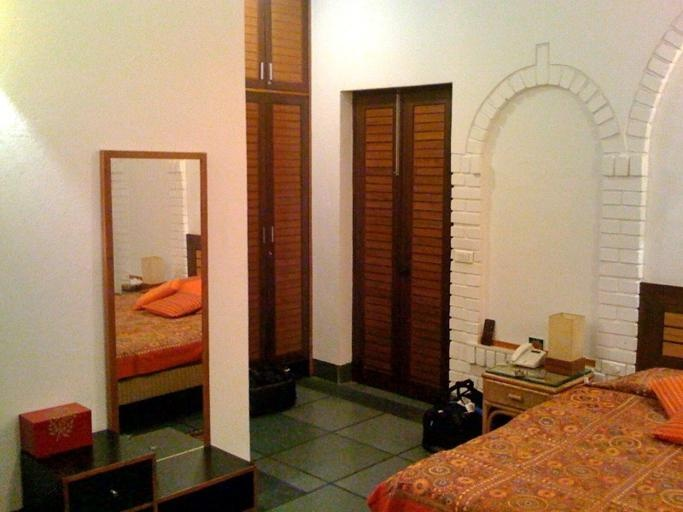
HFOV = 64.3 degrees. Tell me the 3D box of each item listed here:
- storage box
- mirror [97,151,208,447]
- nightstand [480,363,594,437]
[{"bbox_3d":[-1.486,0.907,2.830,0.169,0.184,0.303,3,1,37],"label":"storage box"},{"bbox_3d":[-1.058,0.297,3.200,0.677,1.794,0.112,-8,10,-40],"label":"mirror"},{"bbox_3d":[1.409,1.054,4.004,0.529,0.670,0.647,-8,10,-44],"label":"nightstand"}]
